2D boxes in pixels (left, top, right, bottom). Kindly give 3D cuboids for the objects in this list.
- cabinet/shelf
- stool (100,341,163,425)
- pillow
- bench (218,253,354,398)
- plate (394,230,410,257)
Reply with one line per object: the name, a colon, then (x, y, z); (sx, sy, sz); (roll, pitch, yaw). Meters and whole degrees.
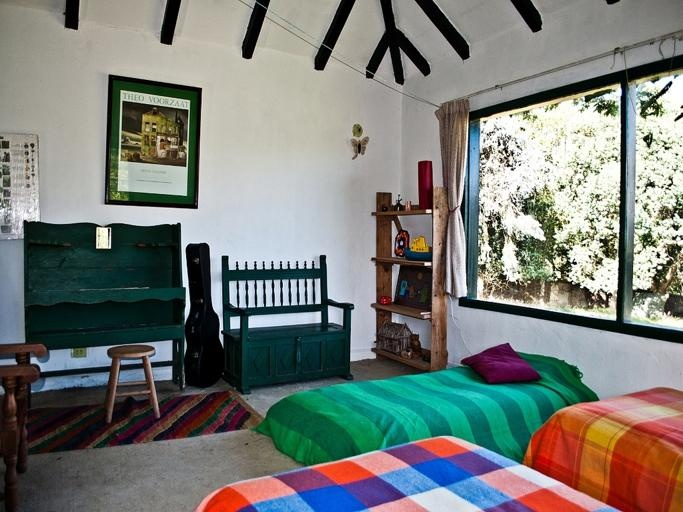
cabinet/shelf: (0.831, 0.257, 5.956); (0.539, 2.180, 1.191); (-1, 1, -25)
stool: (-1.871, 1.126, 4.377); (0.516, 0.616, 0.572); (2, 5, 9)
pillow: (1.388, 0.889, 4.353); (0.567, 0.654, 0.163); (-10, 34, 27)
bench: (-0.622, 0.715, 5.506); (1.323, 1.494, 0.703); (1, -3, -33)
plate: (0.743, -0.153, 6.087); (0.066, 0.447, 0.269); (-2, 7, -34)
